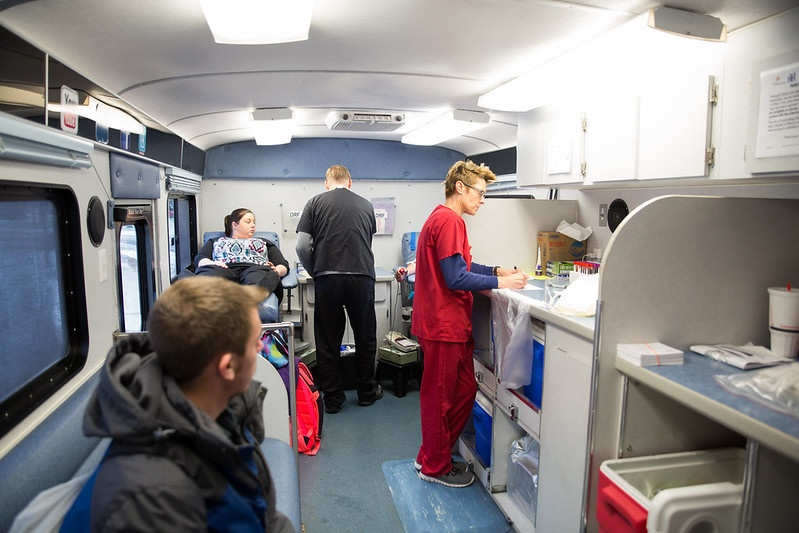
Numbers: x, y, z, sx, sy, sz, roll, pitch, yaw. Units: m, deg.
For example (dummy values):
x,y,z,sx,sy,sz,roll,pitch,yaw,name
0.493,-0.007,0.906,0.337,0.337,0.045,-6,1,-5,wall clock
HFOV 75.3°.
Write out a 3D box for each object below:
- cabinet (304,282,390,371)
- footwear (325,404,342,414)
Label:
x,y,z,sx,sy,sz,roll,pitch,yaw,name
-0.574,0.537,5.925,1.162,1.098,0.760,-1,-2,-6,cabinet
-0.630,1.348,4.901,0.155,0.064,0.058,-4,10,-15,footwear
